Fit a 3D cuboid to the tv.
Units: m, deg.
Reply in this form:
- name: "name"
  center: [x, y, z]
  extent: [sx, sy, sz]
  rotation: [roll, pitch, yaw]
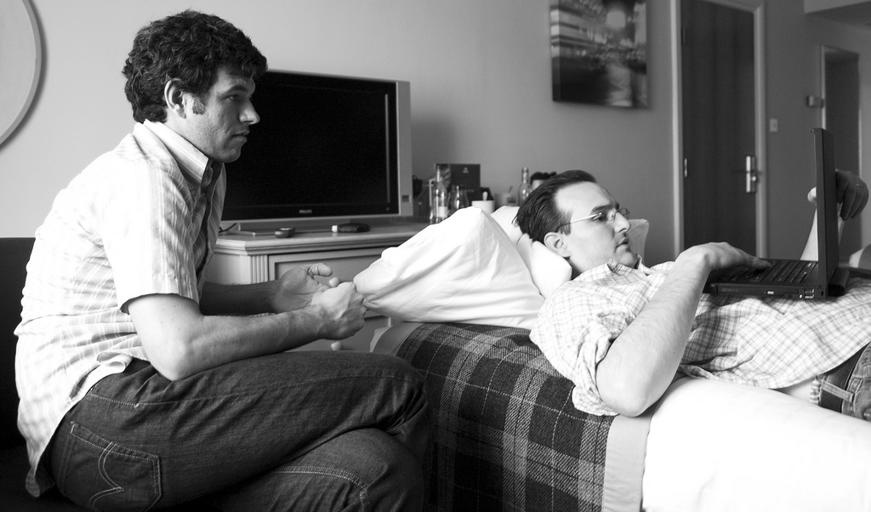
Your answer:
- name: "tv"
  center: [-0.583, -0.486, 2.886]
  extent: [0.880, 0.518, 0.085]
  rotation: [-4, 5, -37]

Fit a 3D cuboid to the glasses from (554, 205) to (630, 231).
- name: "glasses"
  center: [0.579, -0.142, 2.204]
  extent: [0.174, 0.048, 0.169]
  rotation: [-18, 3, 16]

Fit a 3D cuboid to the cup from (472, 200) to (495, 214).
- name: "cup"
  center: [0.273, -0.283, 3.409]
  extent: [0.157, 0.116, 0.159]
  rotation: [0, 4, 0]

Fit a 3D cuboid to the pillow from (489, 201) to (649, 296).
- name: "pillow"
  center: [0.540, -0.044, 2.342]
  extent: [0.457, 0.211, 0.453]
  rotation: [-12, 29, -29]

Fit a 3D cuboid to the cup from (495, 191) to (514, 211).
- name: "cup"
  center: [0.419, -0.333, 3.656]
  extent: [0.119, 0.120, 0.161]
  rotation: [-2, 3, -18]

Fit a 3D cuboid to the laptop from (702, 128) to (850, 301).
- name: "laptop"
  center: [1.058, -0.099, 1.817]
  extent: [0.446, 0.484, 0.568]
  rotation: [0, 5, 24]
